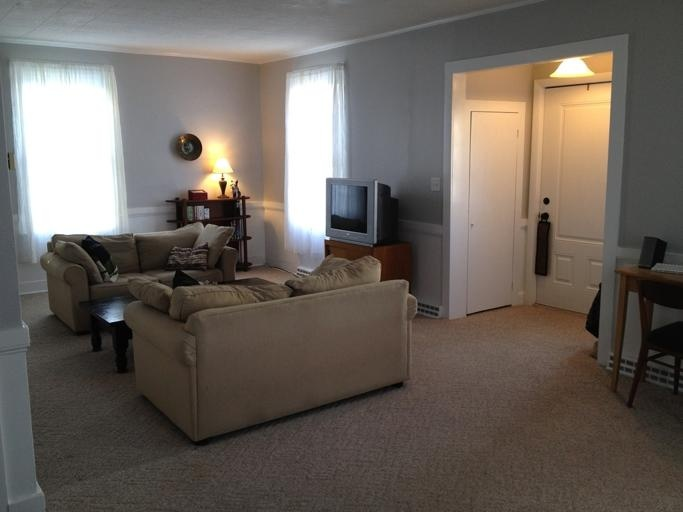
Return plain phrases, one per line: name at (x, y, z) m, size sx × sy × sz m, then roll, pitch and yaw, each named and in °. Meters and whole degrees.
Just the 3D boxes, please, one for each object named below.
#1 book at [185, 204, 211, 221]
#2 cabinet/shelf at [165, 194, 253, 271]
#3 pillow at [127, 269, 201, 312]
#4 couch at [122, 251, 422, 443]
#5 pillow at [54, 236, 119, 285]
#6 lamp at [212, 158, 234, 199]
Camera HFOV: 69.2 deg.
book at (-2.131, -0.565, 7.361) m, size 0.353 × 0.356 × 0.203 m, roll 0°, pitch -2°, yaw -8°
cabinet/shelf at (-1.858, -0.349, 6.757) m, size 1.010 × 1.002 × 0.322 m, roll -7°, pitch 14°, yaw -35°
pillow at (-1.318, 0.257, 3.555) m, size 0.395 × 0.128 × 0.392 m, roll 30°, pitch -11°, yaw -39°
couch at (-0.466, 0.581, 3.650) m, size 1.900 × 1.041 × 0.721 m, roll -7°, pitch 13°, yaw -27°
pillow at (-2.713, 0.049, 5.240) m, size 0.598 × 0.438 × 0.419 m, roll 4°, pitch 13°, yaw 20°
lamp at (-1.819, -1.220, 7.668) m, size 0.303 × 0.579 × 0.340 m, roll -4°, pitch 12°, yaw -17°
